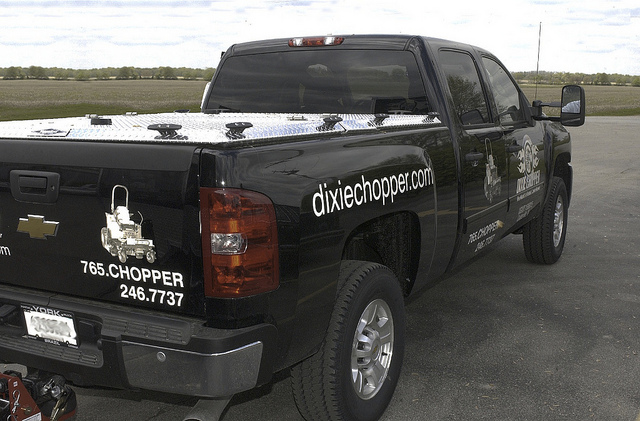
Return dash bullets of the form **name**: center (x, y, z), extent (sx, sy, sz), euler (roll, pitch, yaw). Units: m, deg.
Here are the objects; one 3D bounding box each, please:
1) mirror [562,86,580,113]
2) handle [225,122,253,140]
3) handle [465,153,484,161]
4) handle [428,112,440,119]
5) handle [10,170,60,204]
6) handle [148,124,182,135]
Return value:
- **mirror**: center (2.768, -1.234, 5.281), extent (0.239, 0.315, 0.016), euler (-4, 3, -3)
- **handle**: center (-0.435, -0.424, 2.533), extent (0.111, 0.041, 0.121), euler (-16, 27, -36)
- **handle**: center (1.296, -0.454, 4.053), extent (0.161, 0.057, 0.079), euler (-4, 3, -15)
- **handle**: center (0.937, -0.798, 3.966), extent (0.072, 0.016, 0.081), euler (-1, 30, 3)
- **handle**: center (-1.627, -0.129, 2.712), extent (0.037, 0.175, 0.267), euler (-5, -4, 29)
- **handle**: center (-0.819, -0.429, 2.513), extent (0.122, 0.035, 0.088), euler (0, 9, -4)
